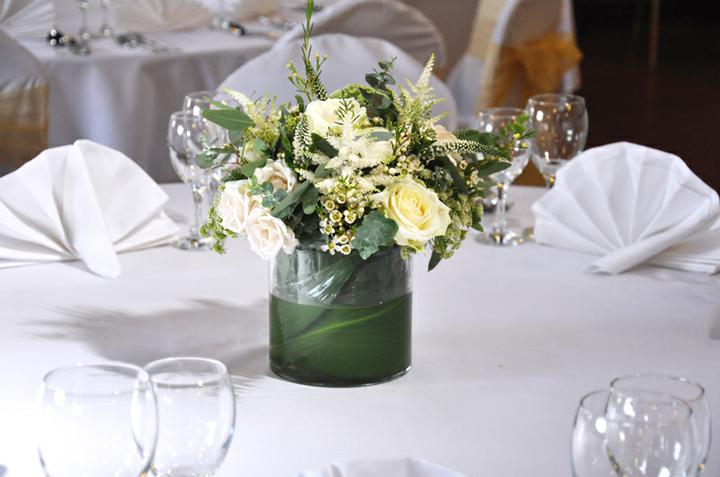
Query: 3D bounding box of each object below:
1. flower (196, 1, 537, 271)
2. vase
[{"bbox_3d":[-0.022,-0.100,0.955,0.460,0.439,0.259,3,-26,0],"label":"flower"},{"bbox_3d":[-0.040,0.121,1.102,0.211,0.218,0.202,-1,5,-12],"label":"vase"}]
